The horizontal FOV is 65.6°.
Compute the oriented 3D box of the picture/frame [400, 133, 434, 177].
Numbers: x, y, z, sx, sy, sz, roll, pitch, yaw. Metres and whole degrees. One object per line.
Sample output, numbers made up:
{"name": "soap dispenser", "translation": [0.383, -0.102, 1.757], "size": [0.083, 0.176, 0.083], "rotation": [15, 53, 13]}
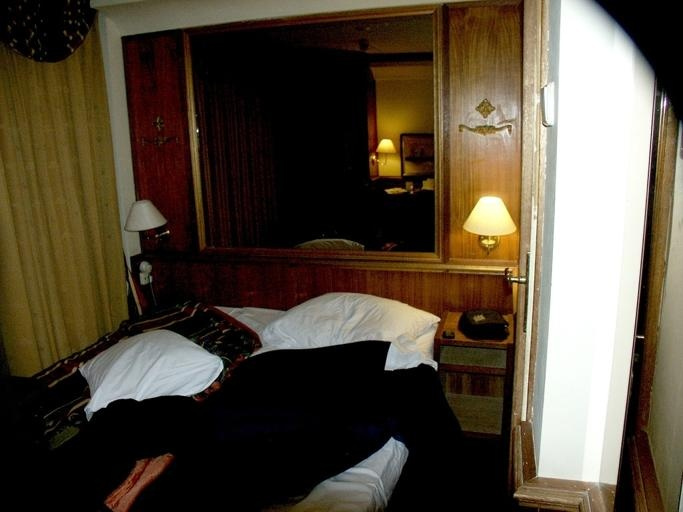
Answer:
{"name": "picture/frame", "translation": [0.464, -0.616, 3.187], "size": [0.271, 0.294, 0.021], "rotation": [2, 15, 12]}

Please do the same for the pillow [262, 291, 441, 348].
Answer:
{"name": "pillow", "translation": [0.018, 0.367, 3.018], "size": [0.556, 0.147, 0.476], "rotation": [-4, 10, 19]}

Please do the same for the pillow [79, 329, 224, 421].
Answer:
{"name": "pillow", "translation": [-0.978, 0.523, 2.572], "size": [0.672, 0.184, 0.654], "rotation": [-21, 24, -41]}

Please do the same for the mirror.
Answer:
{"name": "mirror", "translation": [-0.121, -0.820, 3.321], "size": [1.638, 1.371, 0.061], "rotation": [2, 12, 20]}

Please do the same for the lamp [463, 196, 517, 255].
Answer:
{"name": "lamp", "translation": [0.857, -0.170, 3.047], "size": [0.285, 0.339, 0.249], "rotation": [3, 13, 20]}

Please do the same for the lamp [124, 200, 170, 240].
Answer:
{"name": "lamp", "translation": [-1.284, -0.229, 3.462], "size": [0.288, 0.261, 0.309], "rotation": [7, 14, 36]}
